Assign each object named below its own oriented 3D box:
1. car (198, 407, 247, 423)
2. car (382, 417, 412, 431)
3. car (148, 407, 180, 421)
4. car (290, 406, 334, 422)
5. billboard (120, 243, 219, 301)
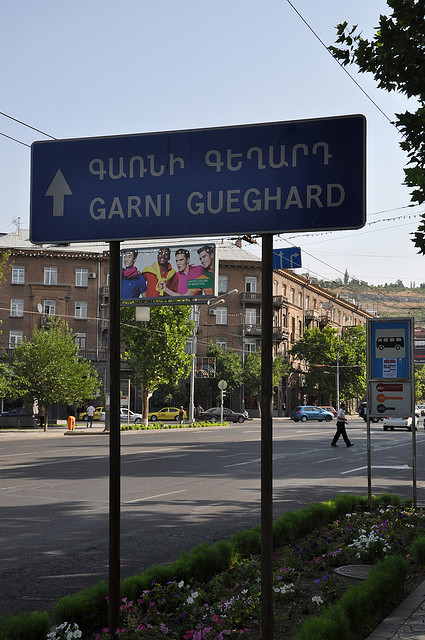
[{"bbox_3d":[0.693,7.196,63.052,1.521,1.151,4.945,-4,-4,41],"label":"car"},{"bbox_3d":[9.926,5.590,44.986,1.362,0.722,2.352,-2,-3,8],"label":"car"},{"bbox_3d":[-3.657,7.133,63.691,2.239,0.870,1.083,3,-8,2],"label":"car"},{"bbox_3d":[7.702,7.315,65.337,2.303,0.978,1.402,-2,1,-17],"label":"car"},{"bbox_3d":[-1.889,-2.072,36.797,5.473,2.482,0.690,-4,-4,40],"label":"billboard"}]
